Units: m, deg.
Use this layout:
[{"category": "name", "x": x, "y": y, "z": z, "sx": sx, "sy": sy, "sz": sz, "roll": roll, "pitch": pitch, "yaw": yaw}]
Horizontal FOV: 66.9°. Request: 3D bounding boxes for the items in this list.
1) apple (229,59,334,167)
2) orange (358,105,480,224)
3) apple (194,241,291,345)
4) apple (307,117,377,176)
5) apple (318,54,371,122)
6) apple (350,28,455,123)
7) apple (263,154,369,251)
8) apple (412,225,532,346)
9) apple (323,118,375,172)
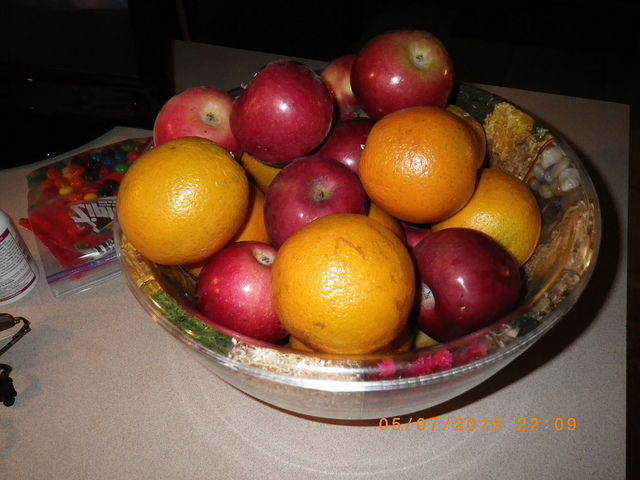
[{"category": "apple", "x": -0.078, "y": -0.248, "z": 0.941, "sx": 0.205, "sy": 0.207, "sz": 0.210, "roll": -2, "pitch": 26, "yaw": 14}, {"category": "orange", "x": 0.199, "y": -0.127, "z": 0.903, "sx": 0.177, "sy": 0.195, "sz": 0.203, "roll": 3, "pitch": 51, "yaw": 27}, {"category": "apple", "x": -0.126, "y": 0.092, "z": 0.895, "sx": 0.160, "sy": 0.160, "sz": 0.170, "roll": -30, "pitch": 52, "yaw": 36}, {"category": "apple", "x": 0.047, "y": -0.171, "z": 0.982, "sx": 0.102, "sy": 0.116, "sz": 0.127, "roll": 3, "pitch": 9, "yaw": 29}, {"category": "apple", "x": 0.044, "y": -0.319, "z": 1.068, "sx": 0.124, "sy": 0.131, "sz": 0.132, "roll": -5, "pitch": 10, "yaw": -6}, {"category": "apple", "x": 0.124, "y": -0.309, "z": 0.951, "sx": 0.131, "sy": 0.131, "sz": 0.145, "roll": -5, "pitch": 85, "yaw": 34}, {"category": "apple", "x": -0.008, "y": -0.078, "z": 0.909, "sx": 0.151, "sy": 0.165, "sz": 0.159, "roll": -20, "pitch": 15, "yaw": -1}, {"category": "apple", "x": 0.244, "y": 0.084, "z": 0.901, "sx": 0.177, "sy": 0.196, "sz": 0.213, "roll": 1, "pitch": 83, "yaw": 18}, {"category": "apple", "x": 0.057, "y": -0.188, "z": 0.975, "sx": 0.090, "sy": 0.109, "sz": 0.098, "roll": -3, "pitch": 81, "yaw": 20}]
